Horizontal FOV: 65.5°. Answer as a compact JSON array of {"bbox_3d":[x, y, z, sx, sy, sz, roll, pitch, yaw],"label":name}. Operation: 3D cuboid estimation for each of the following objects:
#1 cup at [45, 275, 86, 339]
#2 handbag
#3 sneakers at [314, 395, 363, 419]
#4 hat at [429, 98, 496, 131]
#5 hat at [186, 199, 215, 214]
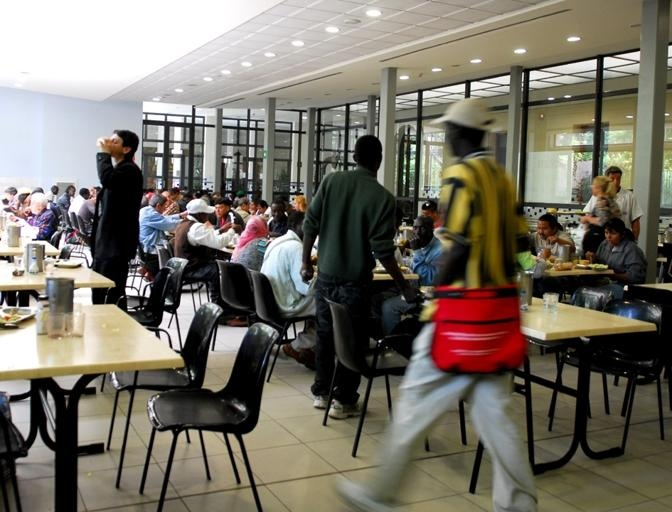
[{"bbox_3d":[-1.251,0.227,2.405,0.148,0.268,0.119,-1,8,-27],"label":"cup"},{"bbox_3d":[0.588,0.307,2.200,0.430,0.352,0.212,0,4,-1],"label":"handbag"},{"bbox_3d":[0.017,1.140,4.008,0.350,0.144,0.145,2,-1,-38],"label":"sneakers"},{"bbox_3d":[0.576,-0.638,2.348,0.222,0.105,0.156,16,8,3],"label":"hat"},{"bbox_3d":[-1.874,-0.683,7.272,0.313,0.166,0.453,3,3,30],"label":"hat"}]
